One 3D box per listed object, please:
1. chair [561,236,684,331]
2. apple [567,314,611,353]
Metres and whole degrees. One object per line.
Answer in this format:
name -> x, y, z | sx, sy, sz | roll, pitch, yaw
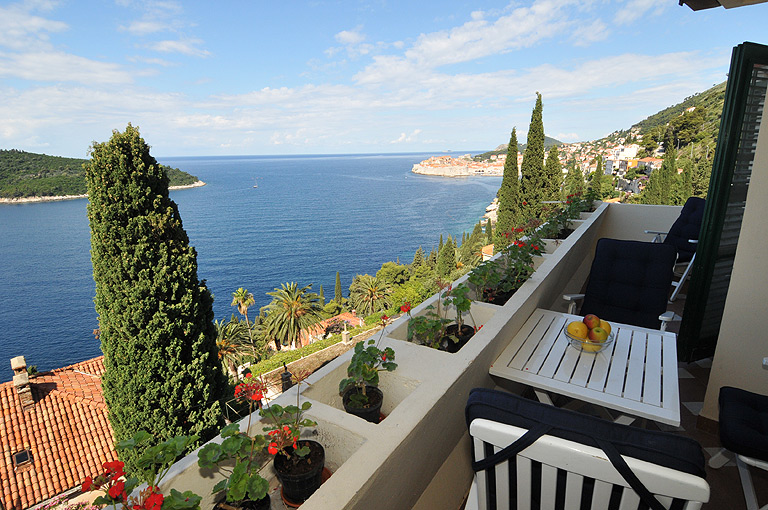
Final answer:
chair -> 2.434, 0.514, 4.355 | 1.006, 1.101, 1.212 | 8, 25, 34
apple -> 1.623, 0.631, 3.392 | 0.324, 0.196, 0.306 | -10, 13, -8
